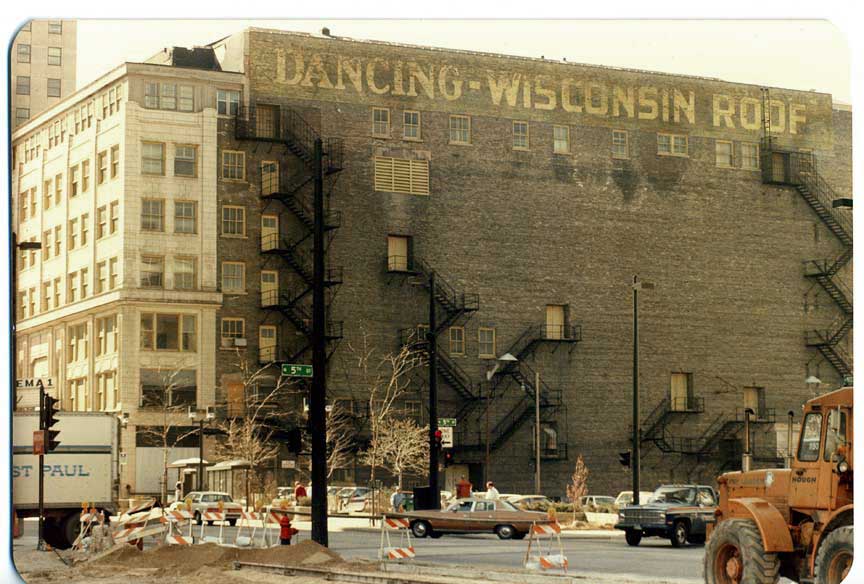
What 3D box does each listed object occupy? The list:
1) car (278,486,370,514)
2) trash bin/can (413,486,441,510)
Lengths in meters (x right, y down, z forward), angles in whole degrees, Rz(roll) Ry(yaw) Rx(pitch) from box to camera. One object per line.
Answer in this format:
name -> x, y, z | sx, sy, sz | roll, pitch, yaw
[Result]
car -> -4.537, 10.151, 97.756 | 3.201, 1.507, 1.940 | 12, -16, -37
trash bin/can -> -0.058, 9.253, 88.703 | 1.018, 1.365, 1.353 | 2, -2, -30
